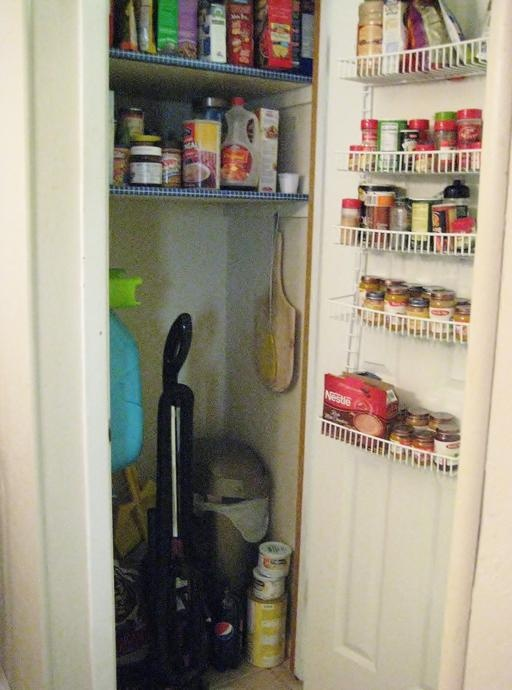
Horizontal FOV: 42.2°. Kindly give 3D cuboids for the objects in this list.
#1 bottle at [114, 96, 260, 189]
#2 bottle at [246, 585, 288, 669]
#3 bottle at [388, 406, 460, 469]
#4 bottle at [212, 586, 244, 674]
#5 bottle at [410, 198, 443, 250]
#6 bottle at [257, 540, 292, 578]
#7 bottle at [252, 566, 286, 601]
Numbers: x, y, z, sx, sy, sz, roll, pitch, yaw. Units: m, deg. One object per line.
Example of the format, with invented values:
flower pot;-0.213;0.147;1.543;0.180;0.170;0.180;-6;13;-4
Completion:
bottle;-0.149;-0.501;1.666;0.351;0.252;0.196;-5;17;-24
bottle;0.033;0.807;1.892;0.108;0.176;0.106;-1;-2;0
bottle;0.325;0.174;1.264;0.098;0.058;0.130;3;3;0
bottle;-0.078;0.790;1.813;0.071;0.240;0.084;3;12;10
bottle;0.310;-0.225;1.232;0.056;0.096;0.061;-1;12;0
bottle;0.060;0.588;1.862;0.092;0.065;0.090;7;15;-2
bottle;0.034;0.665;1.826;0.081;0.059;0.082;1;4;0
